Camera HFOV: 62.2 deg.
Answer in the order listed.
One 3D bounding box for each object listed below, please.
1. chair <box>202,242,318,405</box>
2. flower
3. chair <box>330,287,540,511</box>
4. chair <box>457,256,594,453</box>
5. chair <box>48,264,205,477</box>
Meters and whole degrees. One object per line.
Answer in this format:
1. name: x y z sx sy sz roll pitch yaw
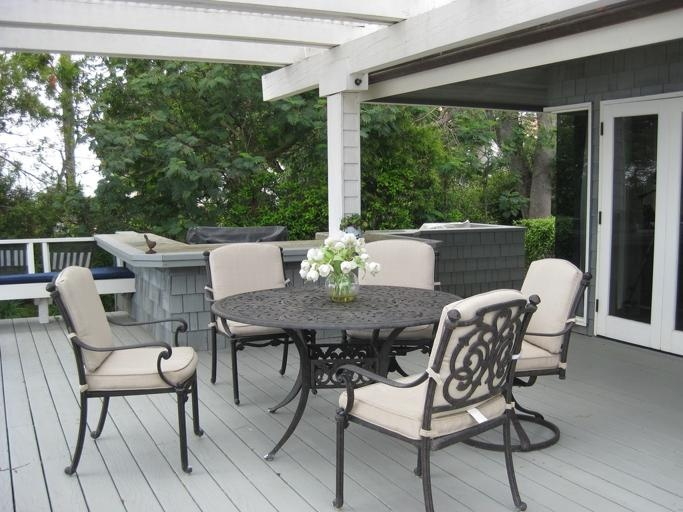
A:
1. chair: -0.687 0.496 4.482 0.775 1.075 0.831 7 12 40
2. flower: 0.002 0.086 3.763 0.492 0.442 0.489 -7 12 -30
3. chair: 0.646 0.521 3.297 1.013 1.637 1.089 -3 6 -40
4. chair: 1.079 0.600 3.657 0.712 1.090 0.666 3 1 -10
5. chair: -1.271 0.647 3.402 0.789 1.119 0.714 0 5 -14
